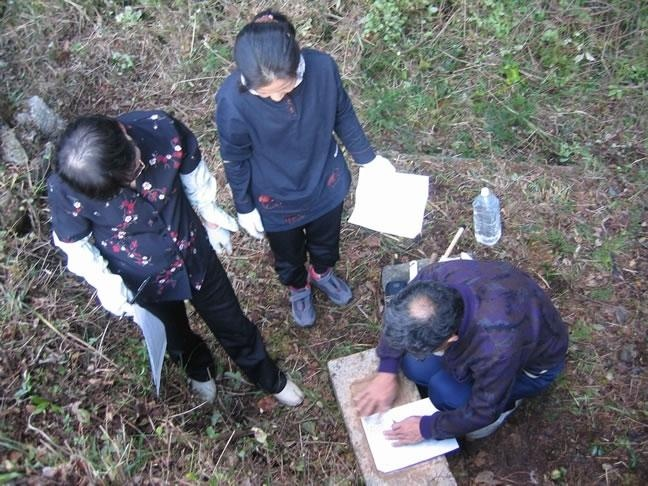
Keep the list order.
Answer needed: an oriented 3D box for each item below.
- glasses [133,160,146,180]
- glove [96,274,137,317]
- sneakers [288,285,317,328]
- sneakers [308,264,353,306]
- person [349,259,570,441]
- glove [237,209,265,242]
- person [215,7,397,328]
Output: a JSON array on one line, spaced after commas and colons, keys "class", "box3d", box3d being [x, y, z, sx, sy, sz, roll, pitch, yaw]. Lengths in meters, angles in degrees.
[{"class": "glasses", "box3d": [-1.206, -0.480, 3.479, 0.029, 0.090, 0.136, 14, 52, 12]}, {"class": "glove", "box3d": [-1.430, 0.362, 3.679, 0.240, 0.311, 0.076, -22, 15, -1]}, {"class": "sneakers", "box3d": [-0.208, 0.549, 5.066, 0.223, 0.222, 0.570, -9, 39, -3]}, {"class": "sneakers", "box3d": [0.089, 0.420, 5.031, 0.528, 0.210, 0.225, 40, 82, 9]}, {"class": "person", "box3d": [1.058, 0.860, 4.002, 0.841, 1.151, 0.631, -35, 62, 21]}, {"class": "glove", "box3d": [-0.556, -0.164, 4.287, 0.190, 0.257, 0.087, -37, 11, 19]}, {"class": "person", "box3d": [-0.090, -0.466, 4.330, 1.168, 2.873, 0.699, -12, 50, -5]}]
